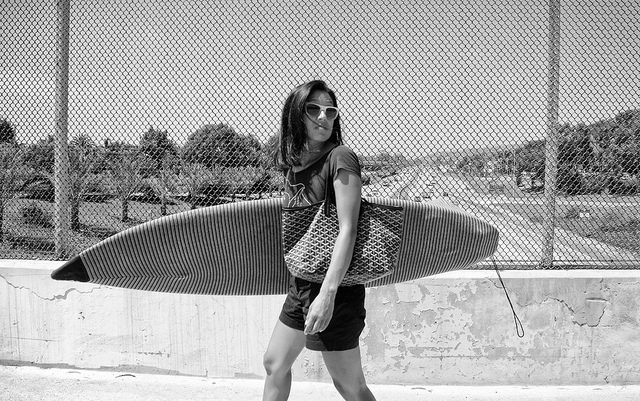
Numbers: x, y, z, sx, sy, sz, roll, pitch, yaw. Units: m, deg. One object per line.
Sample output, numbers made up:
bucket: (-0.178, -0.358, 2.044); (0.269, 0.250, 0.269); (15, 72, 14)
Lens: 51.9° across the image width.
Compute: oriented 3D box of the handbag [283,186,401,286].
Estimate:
handbag: (0.126, 0.243, 4.529); (0.707, 0.764, 0.278); (3, 4, 6)
